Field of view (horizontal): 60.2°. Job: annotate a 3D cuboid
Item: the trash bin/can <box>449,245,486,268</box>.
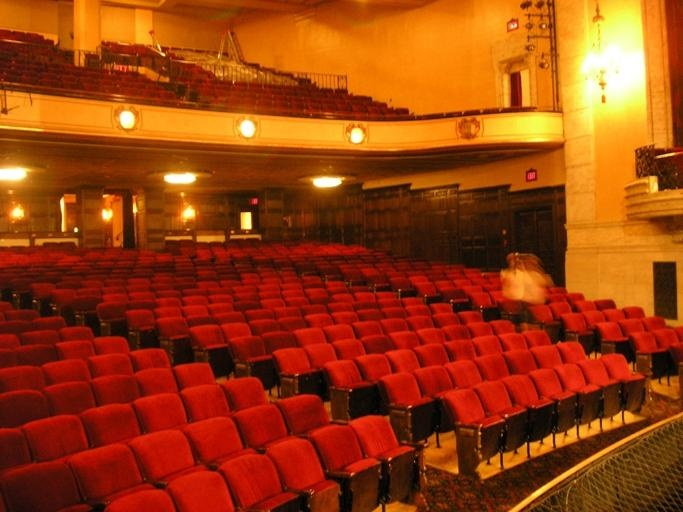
[{"bbox_3d":[3.248,0.019,14.668,0.446,0.656,0.781,0,-1,-39],"label":"trash bin/can"}]
